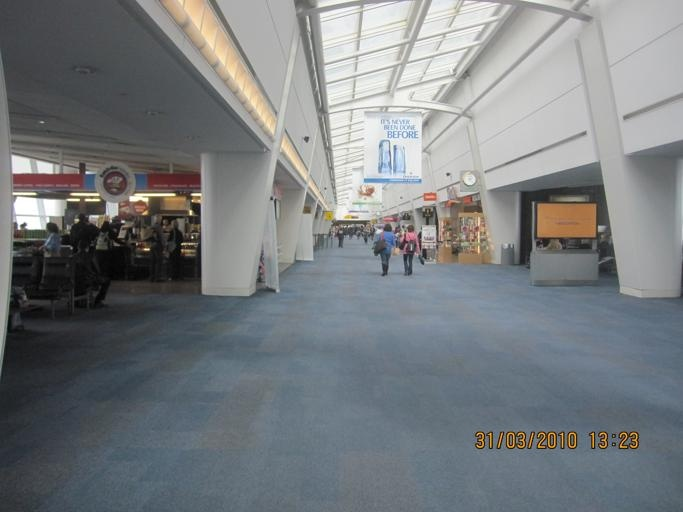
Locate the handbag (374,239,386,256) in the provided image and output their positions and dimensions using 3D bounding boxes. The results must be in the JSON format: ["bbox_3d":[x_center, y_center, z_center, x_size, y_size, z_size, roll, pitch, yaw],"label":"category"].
[{"bbox_3d":[1.614,-0.392,17.180,0.639,0.701,0.260,-3,-11,35],"label":"handbag"}]

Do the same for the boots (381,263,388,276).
[{"bbox_3d":[1.789,0.536,16.961,0.226,0.517,0.476,0,2,2],"label":"boots"}]

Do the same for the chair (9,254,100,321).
[{"bbox_3d":[-6.051,0.670,8.502,1.284,1.001,0.750,0,4,-7],"label":"chair"}]
